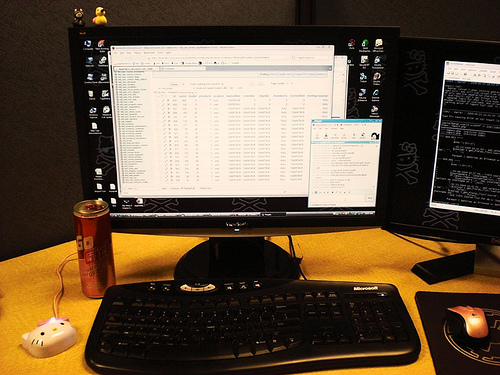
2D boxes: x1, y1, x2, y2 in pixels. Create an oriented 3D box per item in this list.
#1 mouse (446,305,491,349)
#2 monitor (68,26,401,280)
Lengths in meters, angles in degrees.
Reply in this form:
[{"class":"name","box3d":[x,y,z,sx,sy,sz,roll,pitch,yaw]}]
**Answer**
[{"class":"mouse","box3d":[0.421,0.269,0.858,0.082,0.061,0.052,6,14,24]},{"class":"monitor","box3d":[-0.032,-0.091,0.980,0.653,0.452,0.209,0,20,-2]}]
